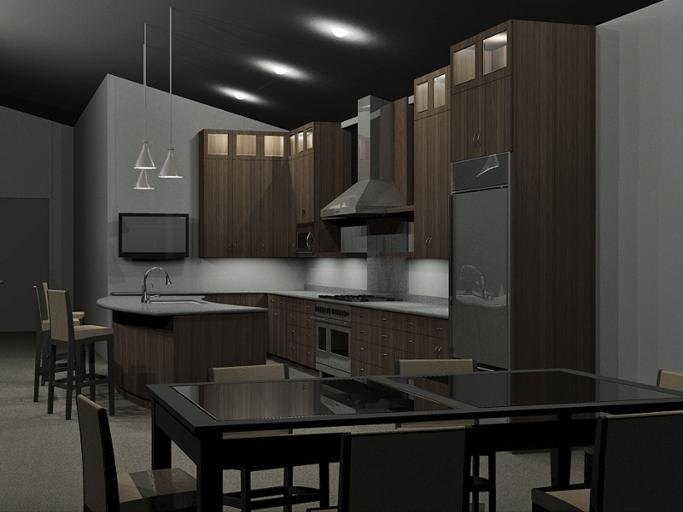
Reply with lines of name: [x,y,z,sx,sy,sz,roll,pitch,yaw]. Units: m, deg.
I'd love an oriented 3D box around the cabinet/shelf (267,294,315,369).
cabinet/shelf: [-0.649,1.025,8.157,0.363,0.841,0.971,1,-1,-25]

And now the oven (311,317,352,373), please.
oven: [-0.106,1.086,7.321,0.357,0.689,0.716,3,-3,-19]

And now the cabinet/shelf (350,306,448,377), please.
cabinet/shelf: [0.572,0.863,6.445,1.060,0.660,0.357,7,5,32]

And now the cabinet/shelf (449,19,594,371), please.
cabinet/shelf: [1.541,-0.473,4.923,1.063,2.826,0.556,-1,-2,17]

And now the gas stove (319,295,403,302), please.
gas stove: [0.249,0.535,7.561,0.851,0.067,1.108,1,-3,-22]
